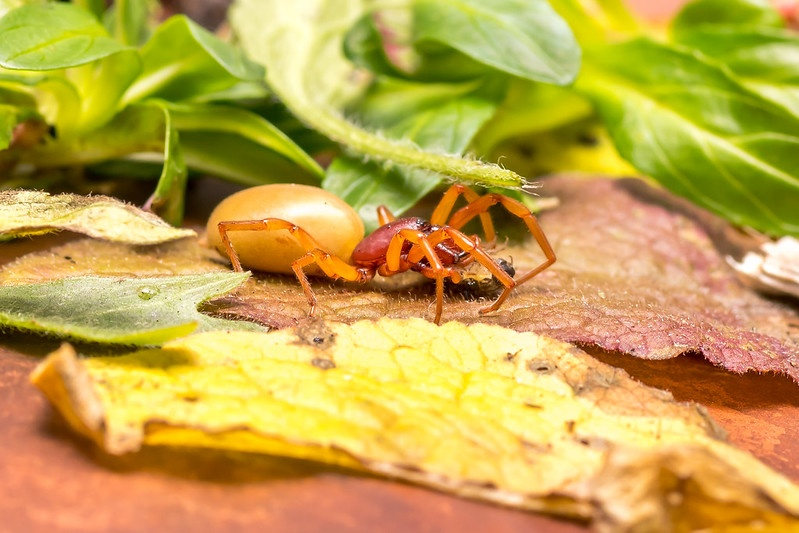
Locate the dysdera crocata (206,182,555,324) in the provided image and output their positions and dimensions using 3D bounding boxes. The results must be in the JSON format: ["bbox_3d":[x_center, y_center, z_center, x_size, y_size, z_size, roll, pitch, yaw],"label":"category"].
[{"bbox_3d":[-0.006,-0.029,1.037,0.346,0.098,0.226,-1,21,4],"label":"dysdera crocata"}]
